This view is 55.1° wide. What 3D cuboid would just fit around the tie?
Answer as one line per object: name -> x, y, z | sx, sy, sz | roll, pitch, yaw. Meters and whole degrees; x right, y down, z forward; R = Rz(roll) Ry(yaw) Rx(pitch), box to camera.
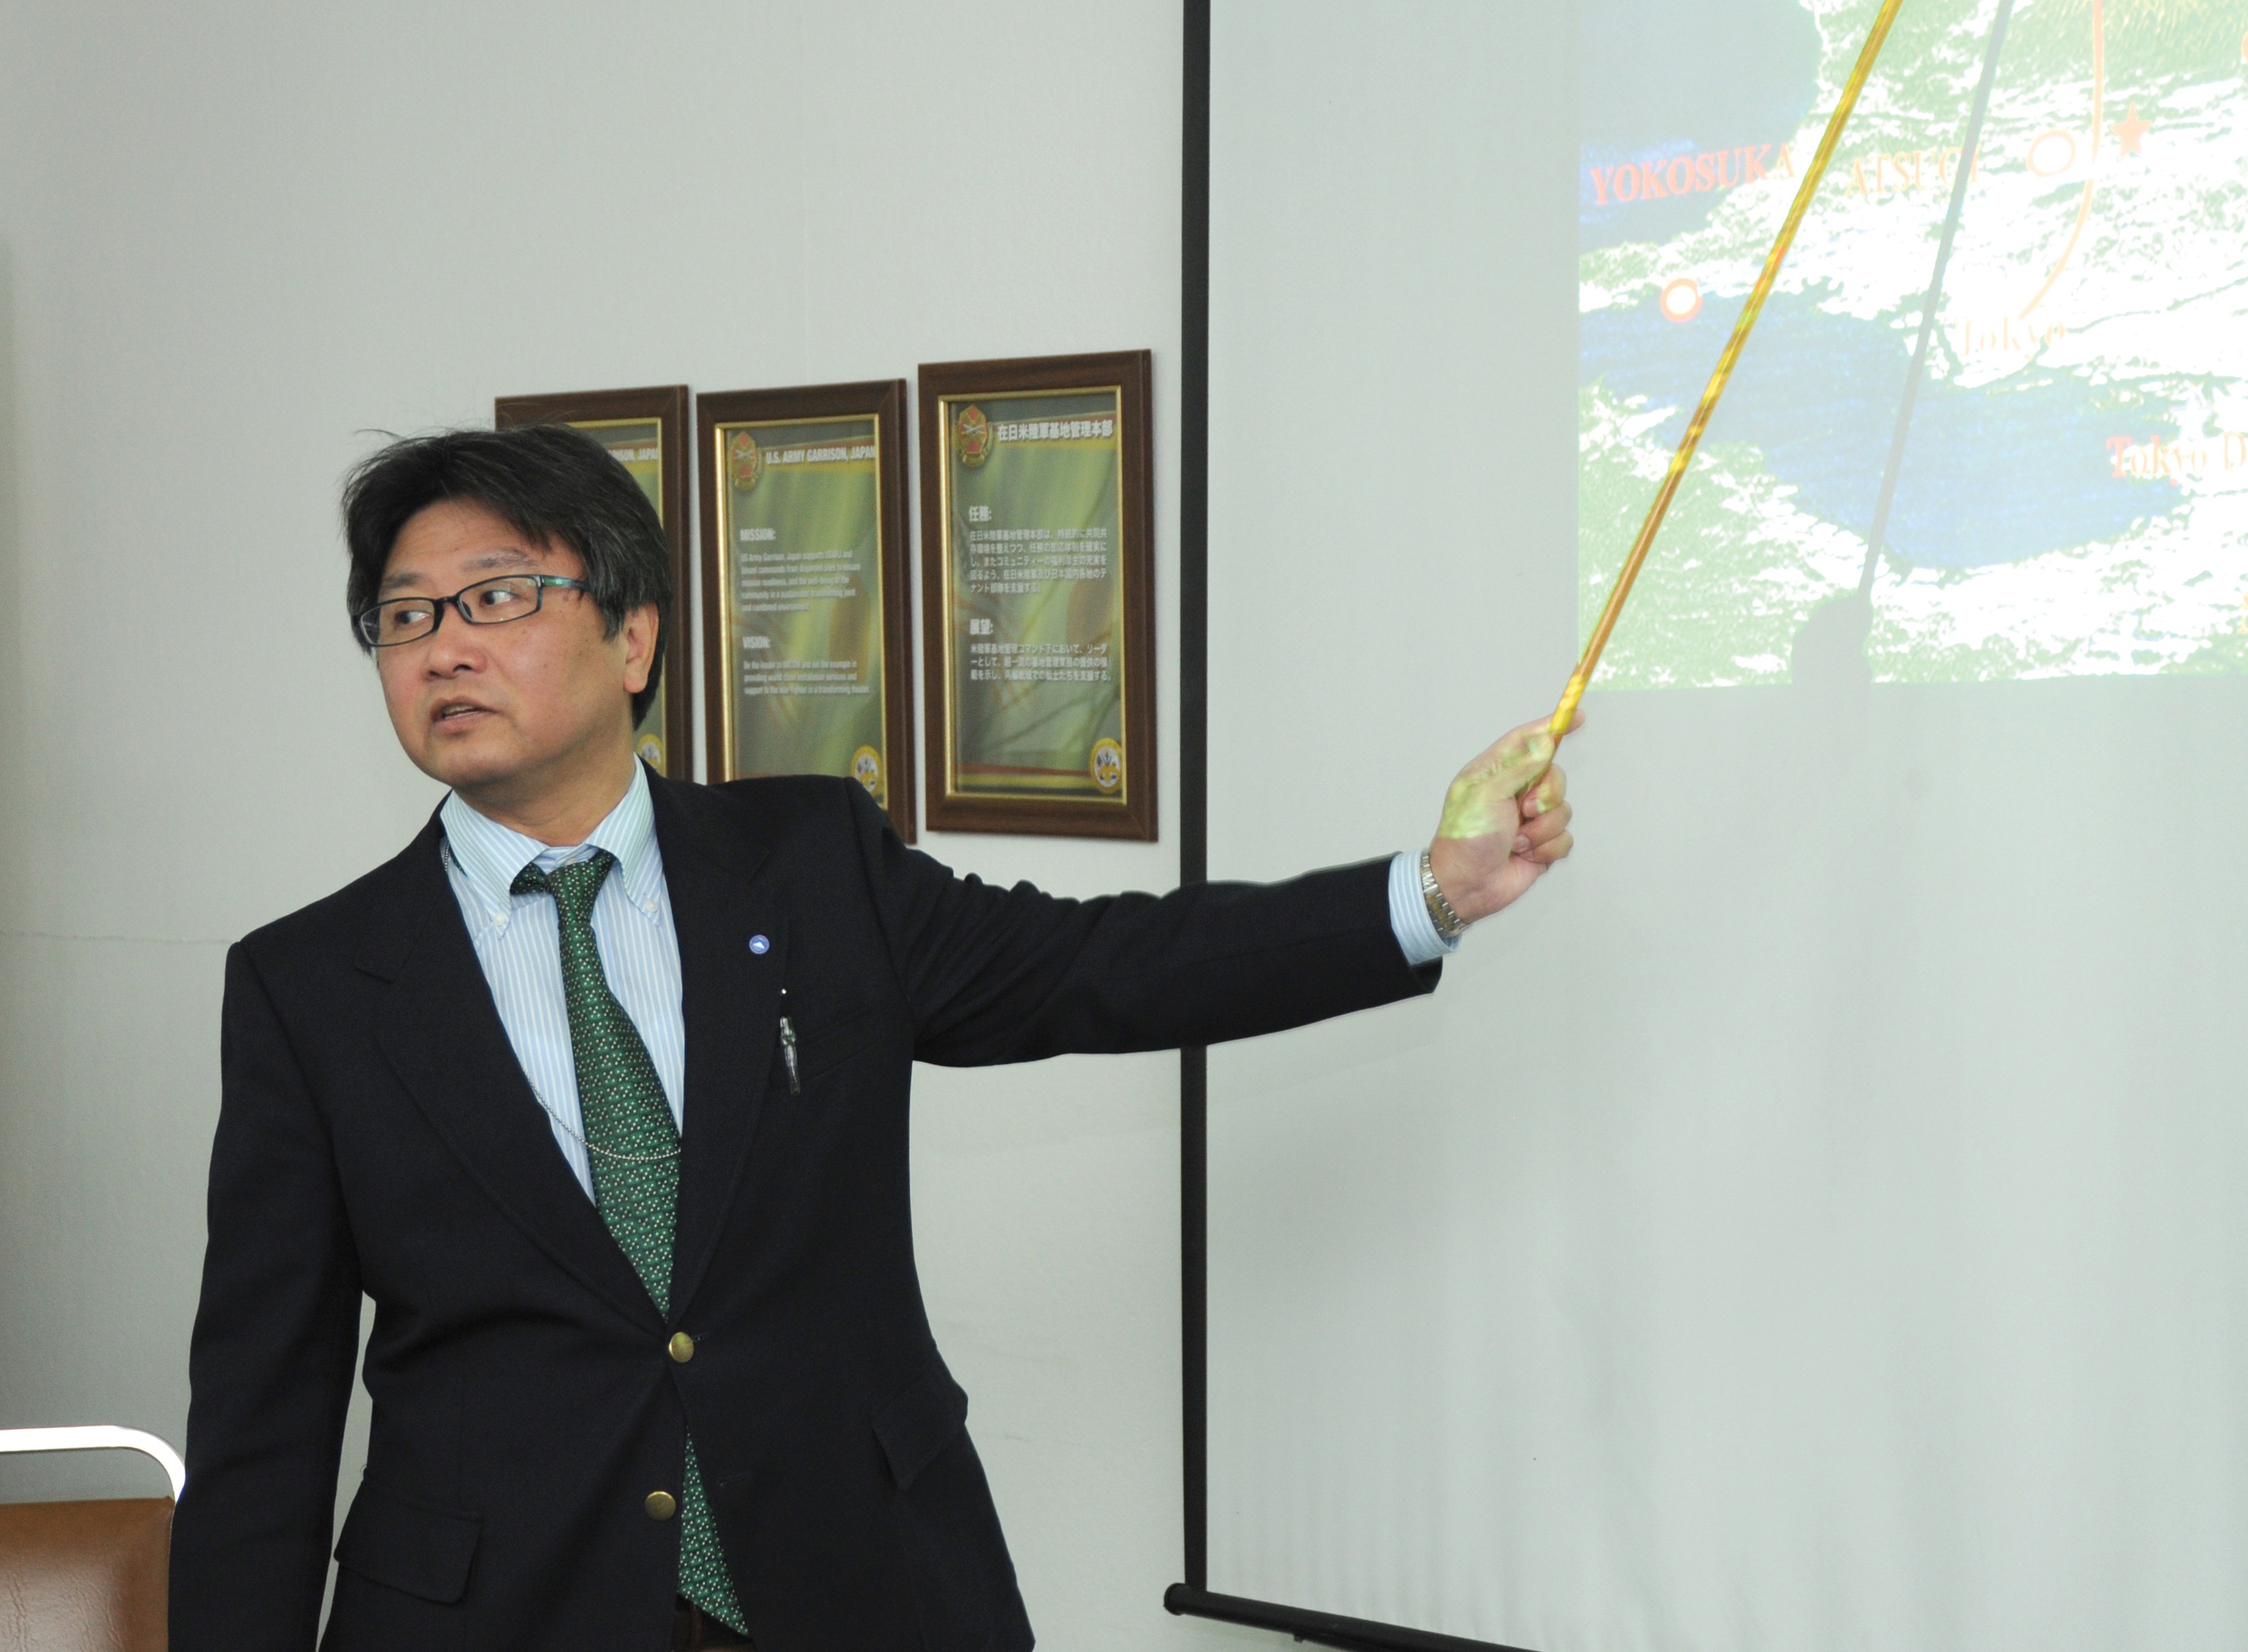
tie -> -0.440, 0.337, 1.965 | 0.142, 0.769, 0.058 | -9, -15, -4
